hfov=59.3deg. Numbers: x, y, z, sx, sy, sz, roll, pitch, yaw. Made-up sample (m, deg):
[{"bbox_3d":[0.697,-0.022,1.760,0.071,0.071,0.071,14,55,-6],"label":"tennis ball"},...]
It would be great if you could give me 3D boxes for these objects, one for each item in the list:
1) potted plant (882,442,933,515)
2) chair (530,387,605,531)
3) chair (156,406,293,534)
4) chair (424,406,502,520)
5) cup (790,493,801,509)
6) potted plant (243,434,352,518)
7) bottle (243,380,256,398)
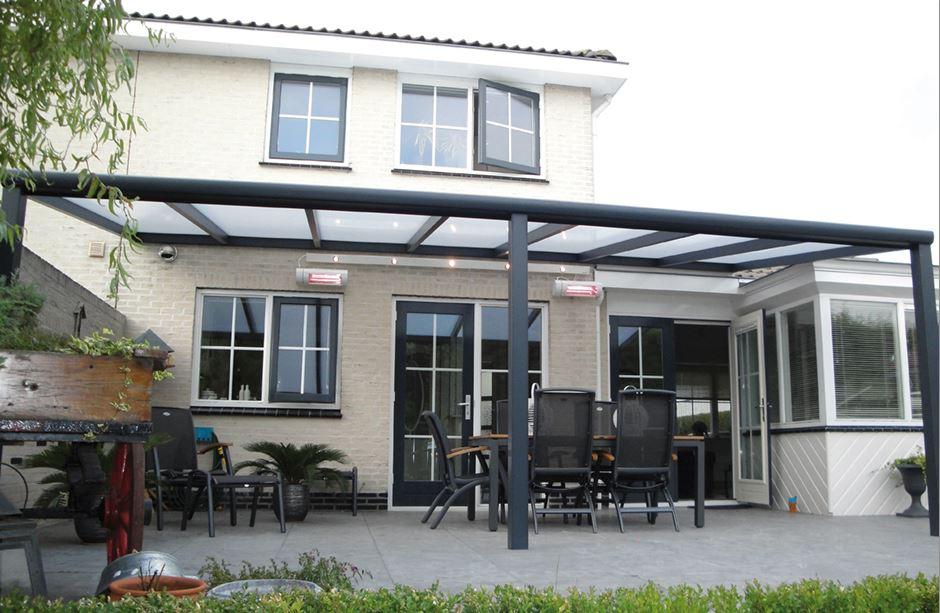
[{"bbox_3d":[5.988,2.328,11.211,0.470,0.924,0.614,-4,-12,19],"label":"potted plant"},{"bbox_3d":[1.009,1.753,9.333,0.816,1.446,0.862,2,-17,-2],"label":"chair"},{"bbox_3d":[-3.086,1.882,9.699,1.236,1.469,2.154,7,-11,-43],"label":"chair"},{"bbox_3d":[-0.039,1.935,9.976,1.019,1.297,1.039,1,-10,-13],"label":"chair"},{"bbox_3d":[4.625,2.774,11.746,0.182,0.187,0.167,2,-9,0],"label":"cup"},{"bbox_3d":[-2.184,2.177,10.391,1.392,0.849,1.340,-4,-17,23],"label":"potted plant"},{"bbox_3d":[-3.059,1.140,11.346,0.228,0.297,0.121,2,-5,-8],"label":"bottle"}]
